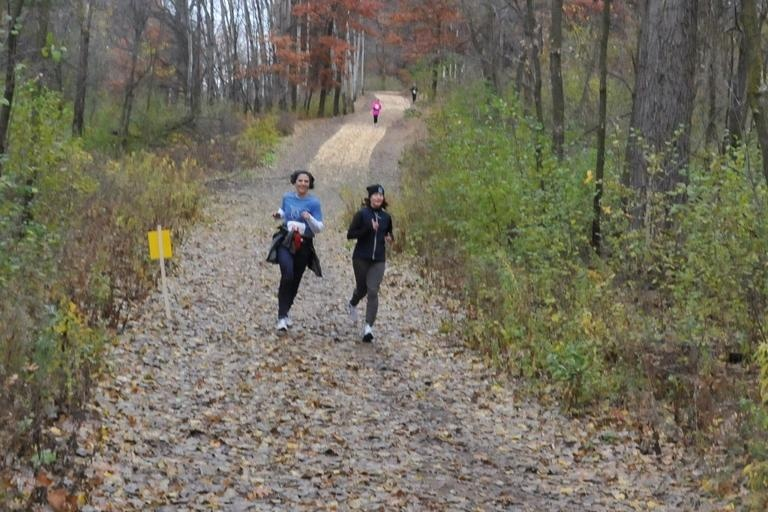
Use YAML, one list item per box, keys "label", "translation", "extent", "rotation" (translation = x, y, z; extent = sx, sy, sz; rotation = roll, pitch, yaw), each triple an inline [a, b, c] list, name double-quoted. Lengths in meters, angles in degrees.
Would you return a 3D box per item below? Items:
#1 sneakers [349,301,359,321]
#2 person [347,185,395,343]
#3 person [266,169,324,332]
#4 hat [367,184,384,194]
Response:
- label: "sneakers"
  translation: [-0.623, 1.184, 15.799]
  extent: [0.106, 0.435, 0.145]
  rotation: [-7, -1, -13]
- label: "person"
  translation: [-0.298, 0.141, 15.213]
  extent: [0.885, 3.056, 0.794]
  rotation: [4, 5, 1]
- label: "person"
  translation: [-1.750, -0.112, 15.247]
  extent: [1.015, 3.143, 1.029]
  rotation: [3, 5, -1]
- label: "hat"
  translation: [-0.176, -1.296, 15.164]
  extent: [0.173, 0.182, 0.280]
  rotation: [0, 8, -5]
